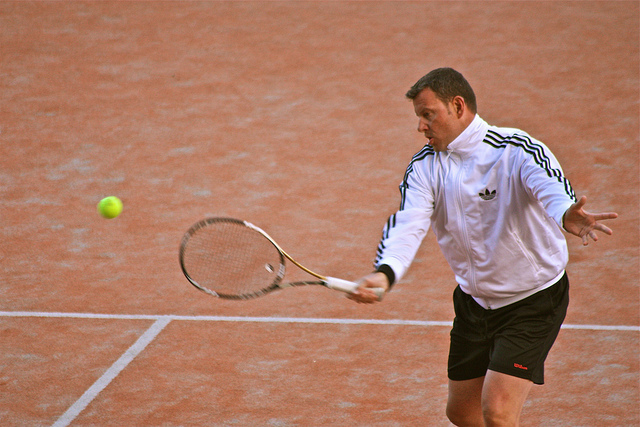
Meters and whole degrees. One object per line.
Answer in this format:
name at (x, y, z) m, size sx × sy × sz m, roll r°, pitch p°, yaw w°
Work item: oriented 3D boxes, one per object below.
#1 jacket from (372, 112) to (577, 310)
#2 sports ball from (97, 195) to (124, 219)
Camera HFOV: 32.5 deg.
jacket at (1.449, 0.041, 10.551) m, size 2.170 × 1.607 × 1.410 m, roll -11°, pitch 2°, yaw 25°
sports ball at (-2.424, -0.072, 12.774) m, size 0.288 × 0.249 × 0.291 m, roll -7°, pitch 0°, yaw 0°
